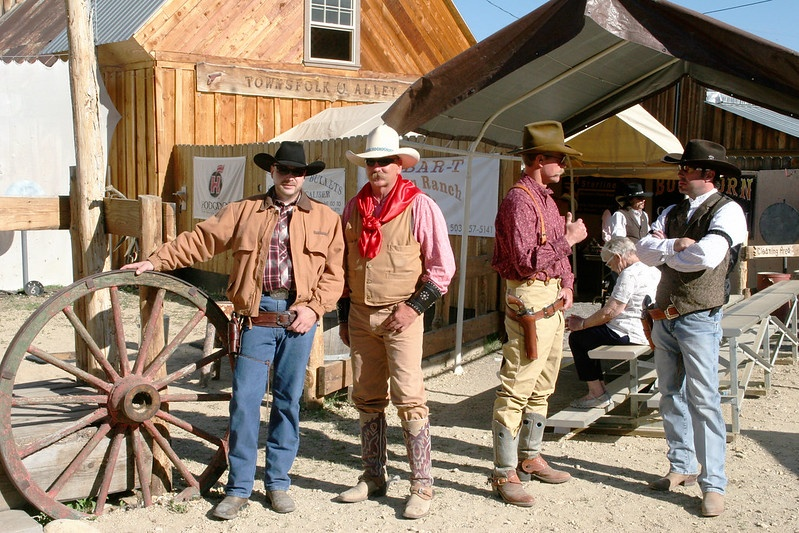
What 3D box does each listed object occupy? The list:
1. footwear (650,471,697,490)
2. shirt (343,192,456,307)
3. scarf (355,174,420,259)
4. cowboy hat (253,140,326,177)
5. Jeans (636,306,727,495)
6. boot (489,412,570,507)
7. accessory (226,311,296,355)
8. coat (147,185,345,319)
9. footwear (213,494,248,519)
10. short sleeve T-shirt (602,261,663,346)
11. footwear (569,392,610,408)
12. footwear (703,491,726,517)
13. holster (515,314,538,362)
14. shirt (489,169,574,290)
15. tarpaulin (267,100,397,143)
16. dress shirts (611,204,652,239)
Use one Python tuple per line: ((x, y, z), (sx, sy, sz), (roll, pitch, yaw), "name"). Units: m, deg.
((2.448, 1.928, 7.902), (0.432, 0.183, 0.160), (0, 0, -6), "footwear")
((-0.122, -0.182, 7.721), (1.285, 1.114, 0.619), (7, 10, 35), "shirt")
((-0.094, -0.387, 7.520), (0.550, 0.652, 0.380), (22, 18, 41), "scarf")
((-0.974, -0.914, 7.608), (0.635, 0.263, 0.718), (4, -5, 1), "cowboy hat")
((2.578, 1.142, 7.661), (0.388, 1.536, 0.781), (-7, 15, -25), "Jeans")
((1.165, 1.685, 7.774), (0.741, 0.639, 0.489), (-15, 22, -42), "boot")
((-1.182, 0.578, 7.471), (0.580, 0.373, 0.180), (3, 14, 11), "accessory")
((-1.079, -0.066, 7.515), (2.122, 1.025, 0.622), (3, 2, 6), "coat")
((-1.433, 2.051, 7.452), (0.135, 0.124, 0.287), (5, -1, 28), "footwear")
((2.297, 0.393, 8.579), (0.418, 0.777, 0.771), (7, 8, 30), "short sleeve T-shirt")
((1.904, 1.344, 8.698), (0.258, 0.095, 0.175), (0, -2, 3), "footwear")
((2.674, 2.038, 7.477), (0.181, 0.188, 0.135), (4, 15, 17), "footwear")
((1.108, 0.618, 7.558), (0.138, 0.380, 0.140), (-6, 0, -18), "holster")
((1.251, -0.301, 7.953), (0.805, 0.993, 0.918), (-2, 2, 23), "shirt")
((-0.982, -2.161, 13.539), (1.693, 0.444, 1.215), (2, 10, 41), "tarpaulin")
((3.314, -0.606, 12.570), (0.718, 0.571, 0.238), (-1, -1, -30), "dress shirts")
